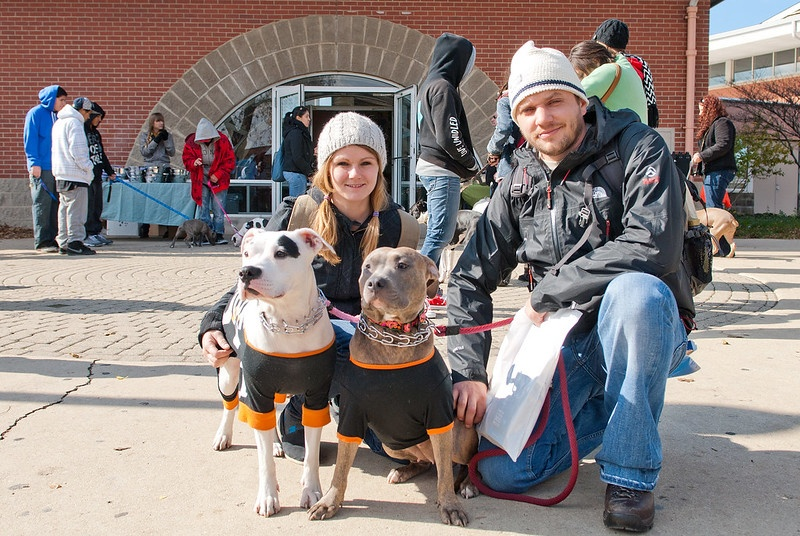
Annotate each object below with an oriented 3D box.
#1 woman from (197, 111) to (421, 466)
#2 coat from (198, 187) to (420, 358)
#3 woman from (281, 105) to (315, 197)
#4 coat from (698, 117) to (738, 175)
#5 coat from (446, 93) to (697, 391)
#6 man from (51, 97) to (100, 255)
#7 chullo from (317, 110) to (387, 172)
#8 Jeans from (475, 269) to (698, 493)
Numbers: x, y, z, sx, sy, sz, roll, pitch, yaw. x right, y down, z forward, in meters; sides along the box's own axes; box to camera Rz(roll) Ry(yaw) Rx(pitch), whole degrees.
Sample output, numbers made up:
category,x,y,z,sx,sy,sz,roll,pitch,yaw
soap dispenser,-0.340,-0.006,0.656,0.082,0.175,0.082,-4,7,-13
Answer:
category,x,y,z,sx,sy,sz,roll,pitch,yaw
woman,-0.487,0.170,5.008,1.608,2.489,1.242,9,15,10
coat,-1.047,-0.095,5.421,0.682,1.233,2.283,8,-4,-43
woman,-1.857,-1.836,12.680,0.591,2.100,0.633,2,15,-4
coat,5.293,-2.013,11.527,0.571,0.979,0.939,-2,4,12
coat,1.056,-0.149,4.598,1.454,1.927,1.508,-4,-4,17
man,-5.295,-1.343,11.114,0.651,2.314,0.478,0,14,-7
chullo,-0.351,-0.919,4.975,0.401,0.359,0.428,3,-20,-8
Jeans,1.212,0.671,4.063,1.128,0.642,1.350,1,22,37
